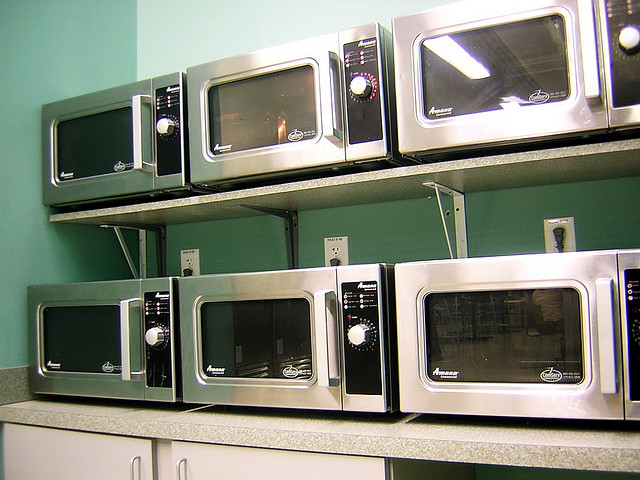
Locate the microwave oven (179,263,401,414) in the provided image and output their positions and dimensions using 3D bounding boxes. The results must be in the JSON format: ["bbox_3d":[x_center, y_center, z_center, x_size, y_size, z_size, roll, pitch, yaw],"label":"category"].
[{"bbox_3d":[-0.077,0.302,1.869,0.672,0.418,0.406,-4,-3,26],"label":"microwave oven"}]

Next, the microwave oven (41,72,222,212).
[{"bbox_3d":[-0.680,-0.311,2.172,0.624,0.397,0.397,-6,-4,25],"label":"microwave oven"}]

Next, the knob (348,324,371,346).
[{"bbox_3d":[0.110,0.256,1.589,0.048,0.051,0.028,15,-3,31],"label":"knob"}]

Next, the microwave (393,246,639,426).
[{"bbox_3d":[0.501,0.241,1.497,0.716,0.485,0.436,-2,-3,25],"label":"microwave"}]

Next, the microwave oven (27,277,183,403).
[{"bbox_3d":[-0.698,0.335,2.090,0.605,0.380,0.386,-4,-3,21],"label":"microwave oven"}]

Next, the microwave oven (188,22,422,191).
[{"bbox_3d":[-0.075,-0.385,1.918,0.654,0.386,0.414,-6,-1,20],"label":"microwave oven"}]

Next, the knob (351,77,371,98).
[{"bbox_3d":[0.115,-0.426,1.658,0.050,0.056,0.030,-1,11,31],"label":"knob"}]

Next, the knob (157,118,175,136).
[{"bbox_3d":[-0.497,-0.363,1.905,0.053,0.054,0.028,-2,-7,16],"label":"knob"}]
